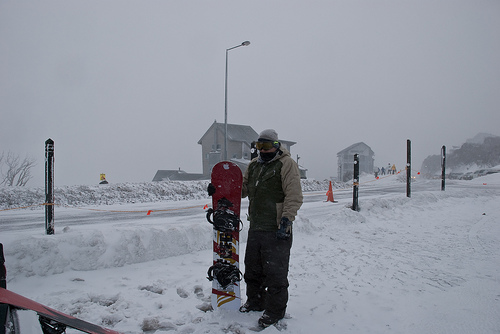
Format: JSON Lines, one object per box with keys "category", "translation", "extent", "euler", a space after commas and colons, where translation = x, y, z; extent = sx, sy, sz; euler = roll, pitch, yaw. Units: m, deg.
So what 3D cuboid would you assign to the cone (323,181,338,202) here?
{"category": "cone", "translation": [3.983, 1.244, 20.602], "extent": [0.666, 1.130, 0.722], "euler": [0, 0, 21]}
